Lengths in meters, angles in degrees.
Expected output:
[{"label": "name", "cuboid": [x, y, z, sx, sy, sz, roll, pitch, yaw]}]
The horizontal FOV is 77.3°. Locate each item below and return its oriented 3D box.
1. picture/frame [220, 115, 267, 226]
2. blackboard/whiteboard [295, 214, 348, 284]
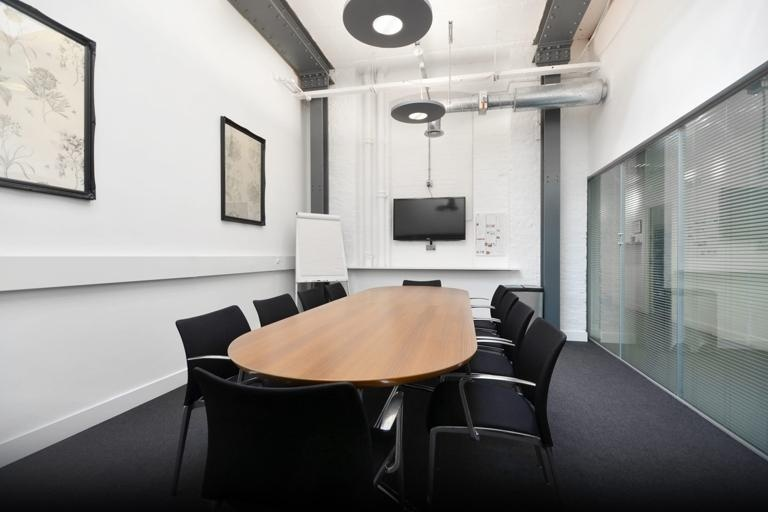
[{"label": "picture/frame", "cuboid": [-1.779, -1.038, 6.111, 0.131, 1.298, 0.909, -1, 3, 16]}, {"label": "blackboard/whiteboard", "cuboid": [-0.958, -0.098, 7.050, 1.050, 1.177, 0.128, 0, -9, -41]}]
